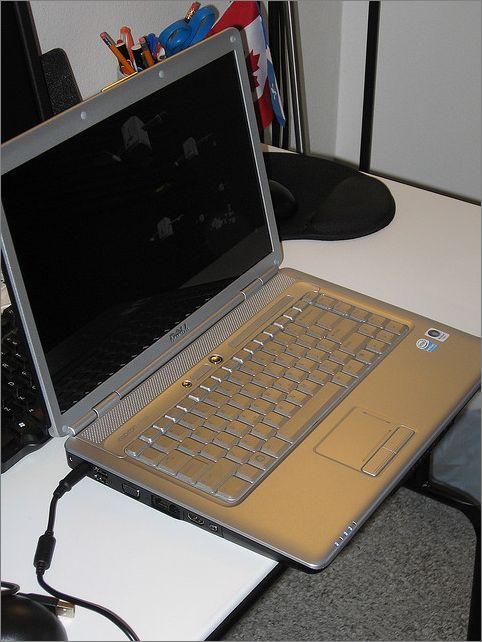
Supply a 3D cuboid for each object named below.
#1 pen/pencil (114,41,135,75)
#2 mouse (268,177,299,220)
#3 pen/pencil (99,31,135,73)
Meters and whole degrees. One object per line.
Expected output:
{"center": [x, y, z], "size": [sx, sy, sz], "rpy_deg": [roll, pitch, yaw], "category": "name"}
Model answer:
{"center": [-0.175, -0.396, 0.832], "size": [0.017, 0.063, 0.024], "rpy_deg": [-8, 9, 20], "category": "pen/pencil"}
{"center": [0.059, -0.177, 0.795], "size": [0.047, 0.014, 0.058], "rpy_deg": [-2, 70, -32], "category": "mouse"}
{"center": [-0.188, -0.404, 0.812], "size": [0.017, 0.076, 0.009], "rpy_deg": [-31, 76, 5], "category": "pen/pencil"}
